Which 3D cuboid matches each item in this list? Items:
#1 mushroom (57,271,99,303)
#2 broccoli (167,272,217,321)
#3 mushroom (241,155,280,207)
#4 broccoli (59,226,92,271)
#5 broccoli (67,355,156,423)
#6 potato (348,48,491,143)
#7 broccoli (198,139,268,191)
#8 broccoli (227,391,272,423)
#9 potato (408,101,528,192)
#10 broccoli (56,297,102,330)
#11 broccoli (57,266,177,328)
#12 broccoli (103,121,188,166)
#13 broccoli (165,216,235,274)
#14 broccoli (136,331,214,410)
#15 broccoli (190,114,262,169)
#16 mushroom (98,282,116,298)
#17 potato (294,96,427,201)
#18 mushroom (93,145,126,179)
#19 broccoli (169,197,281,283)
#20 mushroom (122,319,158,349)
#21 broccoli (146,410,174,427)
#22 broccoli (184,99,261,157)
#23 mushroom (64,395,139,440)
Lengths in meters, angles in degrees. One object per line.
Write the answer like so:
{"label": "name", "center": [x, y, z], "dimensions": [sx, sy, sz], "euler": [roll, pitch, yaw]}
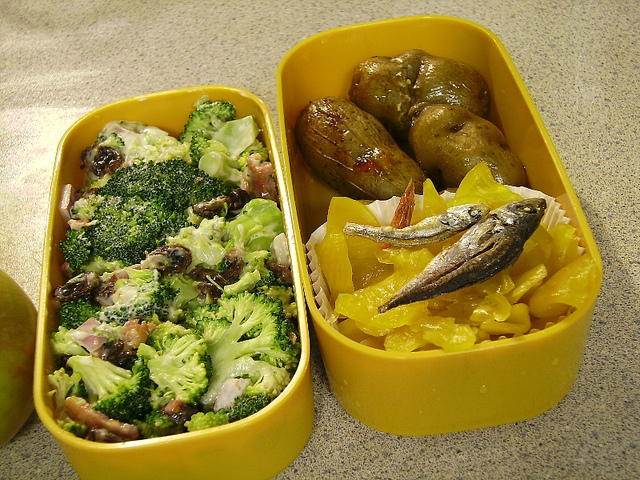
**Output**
{"label": "mushroom", "center": [-0.583, 0.113, 1.596], "dimensions": [0.072, 0.018, 0.053], "euler": [-22, 56, -11]}
{"label": "broccoli", "center": [-0.319, 0.150, 1.649], "dimensions": [0.043, 0.158, 0.137], "euler": [-9, 27, 3]}
{"label": "mushroom", "center": [-0.157, -0.153, 1.749], "dimensions": [0.128, 0.033, 0.123], "euler": [10, 100, 10]}
{"label": "broccoli", "center": [-0.614, 0.021, 1.674], "dimensions": [0.084, 0.033, 0.097], "euler": [-11, 69, -7]}
{"label": "broccoli", "center": [-0.467, 0.356, 1.533], "dimensions": [0.235, 0.190, 0.092], "euler": [10, 81, 41]}
{"label": "potato", "center": [0.281, -0.410, 1.859], "dimensions": [0.322, 0.176, 0.229], "euler": [24, 86, 13]}
{"label": "broccoli", "center": [-0.239, -0.210, 1.819], "dimensions": [0.116, 0.058, 0.164], "euler": [42, 70, 19]}
{"label": "broccoli", "center": [-0.153, 0.354, 1.403], "dimensions": [0.070, 0.030, 0.064], "euler": [-12, 29, 19]}
{"label": "potato", "center": [0.384, -0.229, 1.794], "dimensions": [0.308, 0.178, 0.202], "euler": [40, 38, 15]}
{"label": "broccoli", "center": [-0.588, 0.164, 1.610], "dimensions": [0.087, 0.099, 0.041], "euler": [10, 92, -14]}
{"label": "broccoli", "center": [-0.478, 0.123, 1.596], "dimensions": [0.283, 0.173, 0.065], "euler": [-8, 24, 17]}
{"label": "broccoli", "center": [-0.483, -0.274, 1.852], "dimensions": [0.199, 0.045, 0.137], "euler": [23, 34, 3]}
{"label": "broccoli", "center": [-0.290, 0.006, 1.611], "dimensions": [0.144, 0.045, 0.138], "euler": [6, 67, -5]}
{"label": "broccoli", "center": [-0.348, 0.273, 1.477], "dimensions": [0.194, 0.051, 0.191], "euler": [-9, 24, 6]}
{"label": "broccoli", "center": [-0.262, -0.264, 1.833], "dimensions": [0.162, 0.051, 0.160], "euler": [24, 68, 14]}
{"label": "mushroom", "center": [-0.516, 0.124, 1.615], "dimensions": [0.038, 0.011, 0.036], "euler": [7, 59, 16]}
{"label": "potato", "center": [0.093, -0.236, 1.870], "dimensions": [0.204, 0.167, 0.390], "euler": [-44, 75, -8]}
{"label": "mushroom", "center": [-0.579, -0.219, 1.823], "dimensions": [0.074, 0.035, 0.092], "euler": [18, 86, 7]}
{"label": "broccoli", "center": [-0.214, -0.001, 1.587], "dimensions": [0.258, 0.067, 0.167], "euler": [-24, 82, -11]}
{"label": "mushroom", "center": [-0.411, 0.213, 1.519], "dimensions": [0.059, 0.016, 0.061], "euler": [37, 59, 26]}
{"label": "broccoli", "center": [-0.347, 0.387, 1.420], "dimensions": [0.042, 0.033, 0.013], "euler": [13, 96, 15]}
{"label": "broccoli", "center": [-0.271, -0.317, 1.857], "dimensions": [0.173, 0.048, 0.166], "euler": [-33, 76, -23]}
{"label": "mushroom", "center": [-0.462, 0.385, 1.418], "dimensions": [0.146, 0.040, 0.038], "euler": [21, 97, 7]}
